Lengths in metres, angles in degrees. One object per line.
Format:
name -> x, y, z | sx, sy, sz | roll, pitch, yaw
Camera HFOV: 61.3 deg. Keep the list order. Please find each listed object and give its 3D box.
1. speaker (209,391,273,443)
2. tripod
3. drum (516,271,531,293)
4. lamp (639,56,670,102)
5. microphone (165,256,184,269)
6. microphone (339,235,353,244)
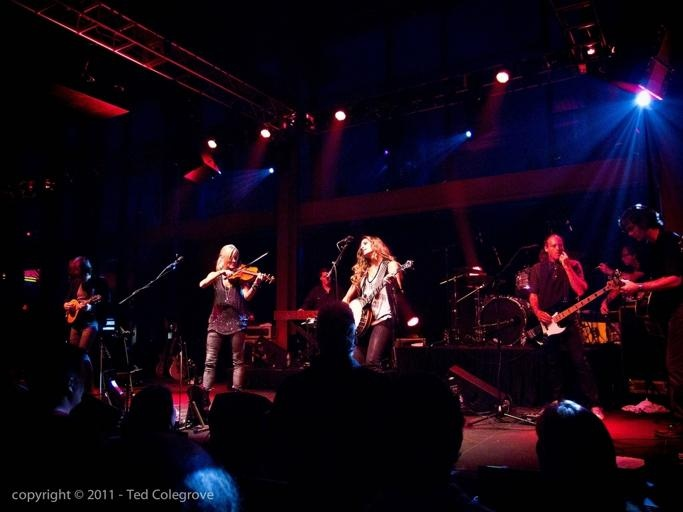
speaker -> -0.690, 1.040, 3.909 | 0.319, 0.350, 0.413 | 8, -46, -4
tripod -> 2.129, 1.619, 7.496 | 1.002, 1.400, 0.969 | 2, -9, 4
drum -> 2.998, 0.439, 9.487 | 0.261, 0.307, 0.292 | -9, -30, 30
lamp -> 4.459, -2.454, 8.135 | 0.363, 0.309, 0.942 | -13, -22, 38
microphone -> -3.379, 0.140, 11.650 | 0.595, 0.129, 0.224 | -8, 7, 32
microphone -> 0.080, -0.197, 7.813 | 0.116, 0.102, 0.397 | -17, 5, -18
